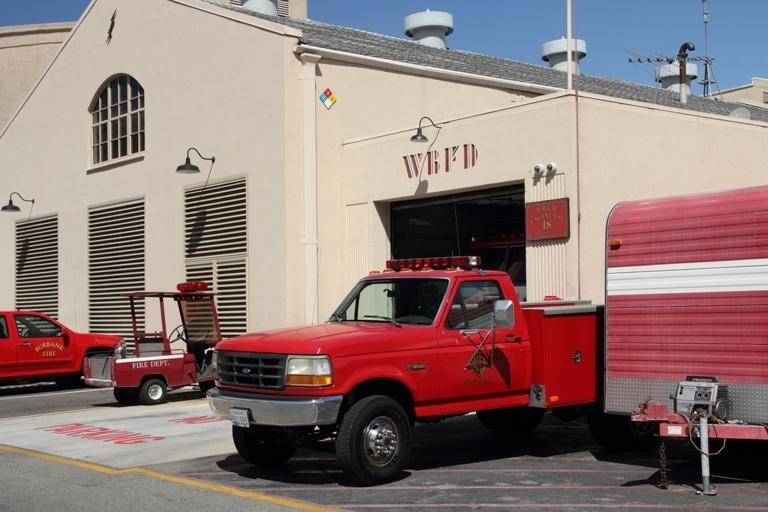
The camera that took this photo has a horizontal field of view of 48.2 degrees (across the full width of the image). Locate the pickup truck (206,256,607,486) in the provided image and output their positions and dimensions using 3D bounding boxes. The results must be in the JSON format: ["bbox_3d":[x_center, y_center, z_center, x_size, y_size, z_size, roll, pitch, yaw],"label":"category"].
[{"bbox_3d":[1.034,1.685,15.179,7.553,3.357,4.740,1,-4,-41],"label":"pickup truck"}]
